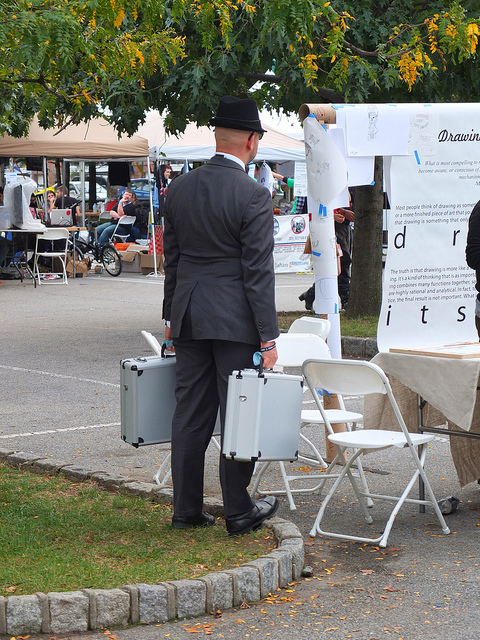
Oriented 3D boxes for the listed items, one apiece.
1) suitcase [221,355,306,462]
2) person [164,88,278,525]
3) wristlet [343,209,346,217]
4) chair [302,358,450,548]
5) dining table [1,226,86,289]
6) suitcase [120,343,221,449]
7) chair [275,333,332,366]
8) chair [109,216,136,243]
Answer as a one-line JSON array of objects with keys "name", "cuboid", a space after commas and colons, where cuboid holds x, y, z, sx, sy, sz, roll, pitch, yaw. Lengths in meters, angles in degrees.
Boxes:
[{"name": "suitcase", "cuboid": [0.104, 0.430, 4.033, 0.358, 0.420, 0.186, 0, 9, -2]}, {"name": "person", "cuboid": [-0.103, -0.029, 4.304, 0.610, 2.057, 0.460, 1, 9, 7]}, {"name": "wristlet", "cuboid": [1.523, -1.573, 13.019, 0.043, 0.131, 0.105, 6, 2, 6]}, {"name": "chair", "cuboid": [0.608, 0.628, 4.553, 0.669, 0.910, 0.752, -8, 12, -43]}, {"name": "dining table", "cuboid": [-4.808, -1.503, 20.515, 1.238, 1.303, 3.251, -2, 8, -15]}, {"name": "suitcase", "cuboid": [-0.358, 0.399, 4.752, 0.536, 0.455, 0.177, -4, 11, -29]}, {"name": "chair", "cuboid": [0.397, 0.157, 5.608, 0.265, 0.117, 0.256, 0, 2, -3]}, {"name": "chair", "cuboid": [-3.016, -2.354, 23.111, 0.625, 0.664, 0.932, -3, 9, -23]}]
